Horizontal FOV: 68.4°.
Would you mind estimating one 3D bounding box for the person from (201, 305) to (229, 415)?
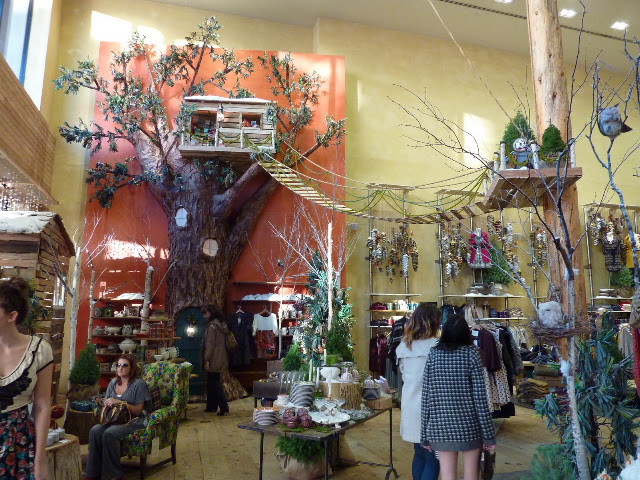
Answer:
[{"bbox_3d":[-1.592,1.830,7.197,0.413,1.629,0.515,2,-7,-12],"label":"person"}]

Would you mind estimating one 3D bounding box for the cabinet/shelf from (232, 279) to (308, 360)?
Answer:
[{"bbox_3d":[-0.940,1.446,8.322,1.426,1.383,0.458,0,0,0],"label":"cabinet/shelf"}]

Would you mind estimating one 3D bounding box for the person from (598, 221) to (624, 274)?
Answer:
[{"bbox_3d":[6.523,0.160,10.546,0.469,1.087,0.733,-4,-8,33],"label":"person"}]

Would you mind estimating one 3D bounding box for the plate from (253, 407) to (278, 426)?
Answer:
[{"bbox_3d":[-0.474,1.530,4.093,0.214,0.118,0.237,2,-8,-9],"label":"plate"}]

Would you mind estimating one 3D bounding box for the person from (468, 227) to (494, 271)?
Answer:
[{"bbox_3d":[3.252,0.125,9.610,0.453,0.874,1.374,-2,-8,18],"label":"person"}]

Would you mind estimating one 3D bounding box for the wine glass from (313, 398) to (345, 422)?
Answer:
[{"bbox_3d":[0.064,1.486,4.112,0.279,0.149,0.323,0,-8,4],"label":"wine glass"}]

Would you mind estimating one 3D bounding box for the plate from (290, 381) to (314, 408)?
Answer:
[{"bbox_3d":[-0.161,1.392,4.237,0.188,0.169,0.186,-1,-2,-8],"label":"plate"}]

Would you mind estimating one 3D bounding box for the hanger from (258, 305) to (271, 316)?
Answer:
[{"bbox_3d":[-1.067,1.343,8.952,0.140,0.200,0.020,3,4,7],"label":"hanger"}]
